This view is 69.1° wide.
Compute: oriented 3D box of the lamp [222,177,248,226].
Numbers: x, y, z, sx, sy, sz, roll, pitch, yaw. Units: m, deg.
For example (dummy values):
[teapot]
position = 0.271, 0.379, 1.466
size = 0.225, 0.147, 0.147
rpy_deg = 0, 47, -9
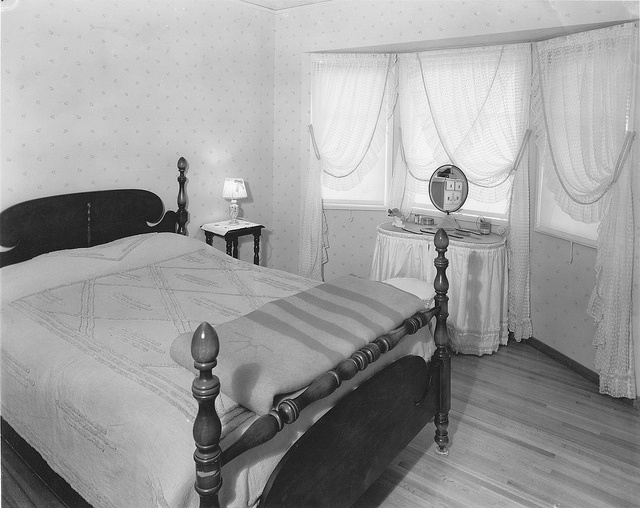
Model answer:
[lamp]
position = -0.769, -0.483, 4.167
size = 0.199, 0.401, 0.214
rpy_deg = 9, 15, 30

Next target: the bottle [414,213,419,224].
[bottle]
position = 0.870, -0.320, 4.175
size = 0.034, 0.069, 0.016
rpy_deg = -2, -17, 26

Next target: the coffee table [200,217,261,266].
[coffee table]
position = -0.805, -0.194, 4.188
size = 0.415, 0.482, 0.382
rpy_deg = -11, 18, -41

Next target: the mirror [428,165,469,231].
[mirror]
position = 1.119, -0.484, 4.071
size = 0.329, 0.668, 0.212
rpy_deg = 5, 43, 21

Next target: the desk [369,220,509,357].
[desk]
position = 1.044, 0.175, 4.098
size = 1.448, 1.303, 0.787
rpy_deg = 5, 8, 33
